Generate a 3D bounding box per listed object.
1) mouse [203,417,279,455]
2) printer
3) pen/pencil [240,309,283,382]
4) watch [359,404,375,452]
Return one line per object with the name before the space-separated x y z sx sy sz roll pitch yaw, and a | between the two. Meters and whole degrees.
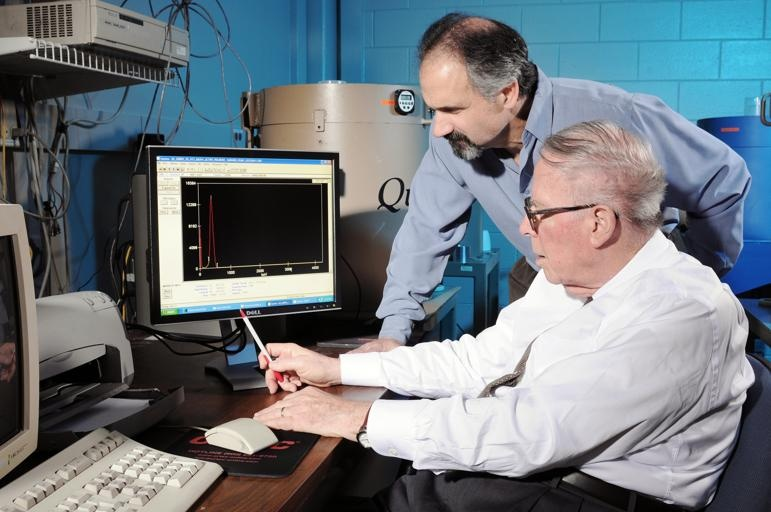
mouse | -0.332 0.401 1.425 0.110 0.036 0.080 4 7 27
printer | -0.718 0.263 1.538 0.335 0.322 0.333 -1 7 22
pen/pencil | -0.369 0.267 1.823 0.022 0.205 0.022 -36 -11 39
watch | -0.048 0.424 1.488 0.027 0.073 0.056 9 -8 4
